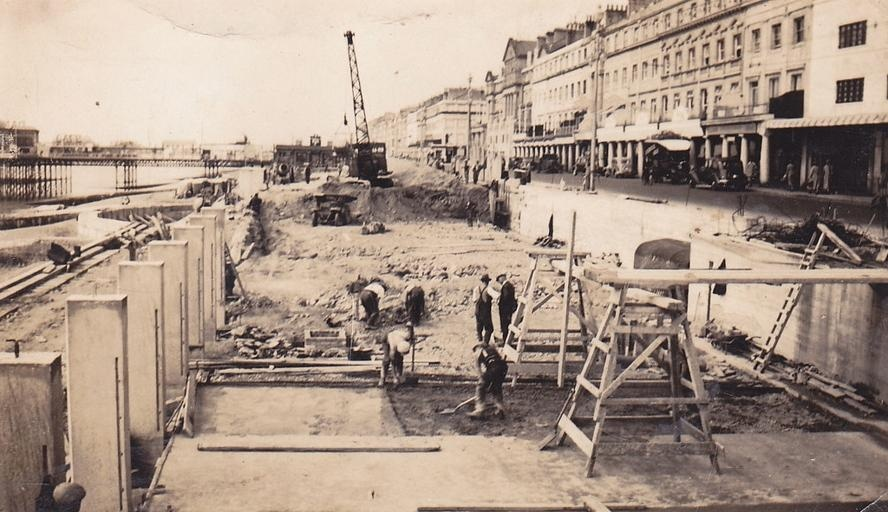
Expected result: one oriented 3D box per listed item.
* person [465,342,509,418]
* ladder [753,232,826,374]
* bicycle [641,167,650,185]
[{"bbox_3d":[1.044,3.073,20.365,0.869,1.890,1.223,-10,51,-5],"label":"person"},{"bbox_3d":[8.688,1.141,21.012,1.689,3.509,0.801,-2,11,-13],"label":"ladder"},{"bbox_3d":[6.538,-2.610,27.296,0.242,0.797,0.320,-1,-24,13],"label":"bicycle"}]
